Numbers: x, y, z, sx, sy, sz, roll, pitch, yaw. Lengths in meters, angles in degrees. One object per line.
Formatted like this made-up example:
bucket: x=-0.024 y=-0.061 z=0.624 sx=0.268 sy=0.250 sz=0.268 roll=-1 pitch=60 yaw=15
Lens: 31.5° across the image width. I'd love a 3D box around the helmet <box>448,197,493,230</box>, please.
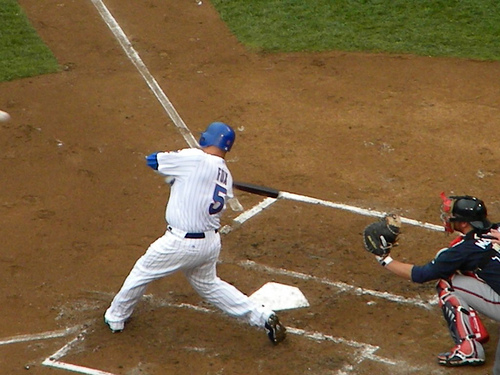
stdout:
helmet: x=2.659 y=0.289 z=10.860 sx=0.539 sy=0.352 sz=0.576 roll=1 pitch=12 yaw=12
